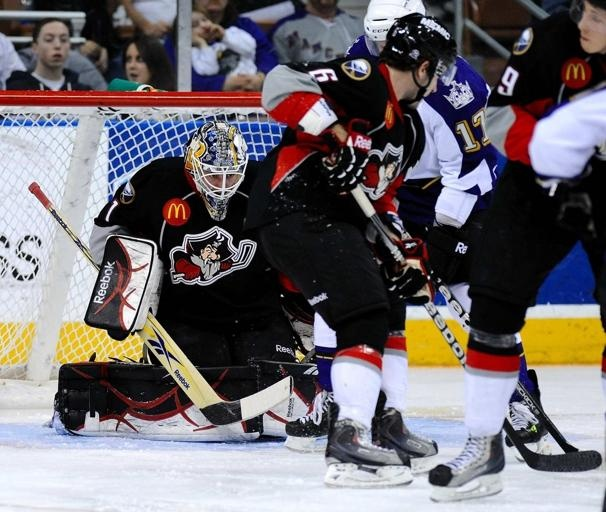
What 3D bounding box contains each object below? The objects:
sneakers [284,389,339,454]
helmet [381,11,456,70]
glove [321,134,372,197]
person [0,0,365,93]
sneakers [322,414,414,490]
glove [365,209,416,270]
[{"bbox_3d":[0.083,0.564,2.721,0.293,0.200,0.103,2,-6,0],"label":"sneakers"},{"bbox_3d":[0.342,-0.657,2.523,0.204,0.198,0.155,-5,35,-11],"label":"helmet"},{"bbox_3d":[0.136,-0.260,2.355,0.078,0.169,0.128,15,-8,11],"label":"glove"},{"bbox_3d":[-0.445,-1.553,6.177,1.534,0.524,1.138,-8,8,34],"label":"person"},{"bbox_3d":[0.165,0.542,2.215,0.338,0.229,0.115,3,-11,-12],"label":"sneakers"},{"bbox_3d":[0.282,-0.055,2.617,0.085,0.199,0.123,-10,30,45],"label":"glove"}]
